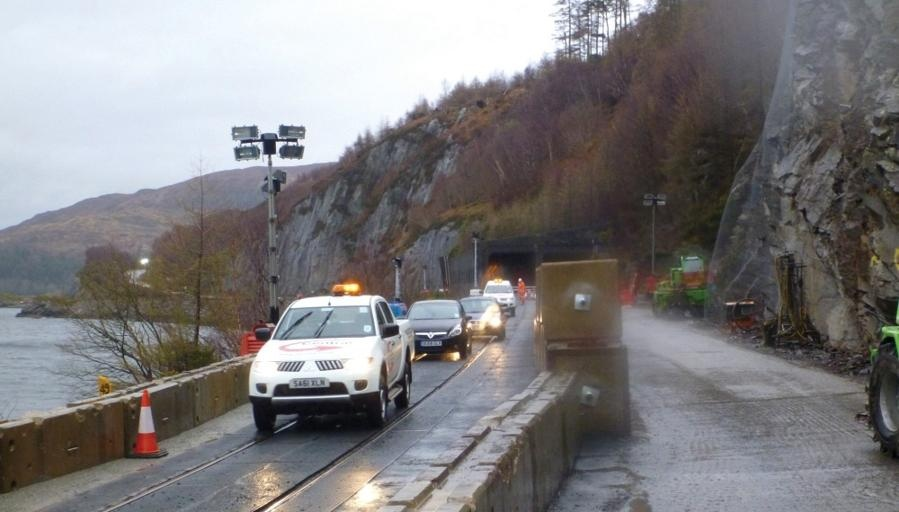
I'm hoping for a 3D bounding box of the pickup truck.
[{"bbox_3d":[-3.511,3.169,28.753,3.779,3.716,8.600,-2,-1,4],"label":"pickup truck"}]

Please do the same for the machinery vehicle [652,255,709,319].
[{"bbox_3d":[14.560,2.150,55.309,2.999,3.245,4.954,-2,-8,1],"label":"machinery vehicle"}]
